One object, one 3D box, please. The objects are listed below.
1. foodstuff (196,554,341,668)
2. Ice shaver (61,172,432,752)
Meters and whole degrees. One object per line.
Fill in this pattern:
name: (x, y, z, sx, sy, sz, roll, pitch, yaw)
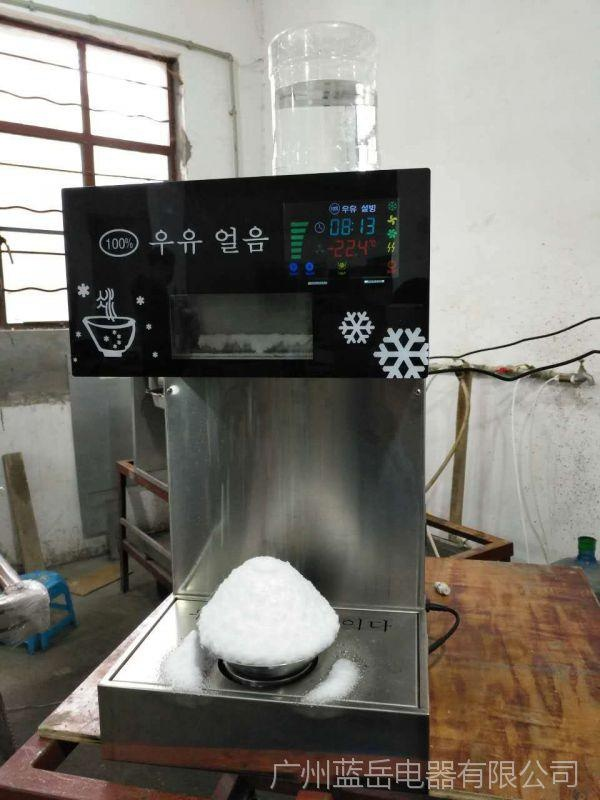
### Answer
foodstuff: (-0.045, 0.309, 1.028, 0.196, 0.117, 0.170, -1, 12, -7)
Ice shaver: (-0.046, 0.086, 1.166, 0.533, 0.811, 0.445, 0, 5, 15)
